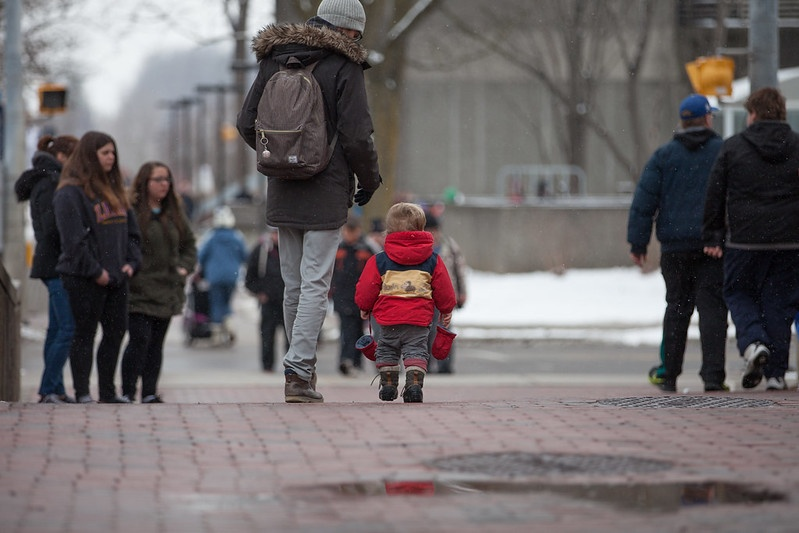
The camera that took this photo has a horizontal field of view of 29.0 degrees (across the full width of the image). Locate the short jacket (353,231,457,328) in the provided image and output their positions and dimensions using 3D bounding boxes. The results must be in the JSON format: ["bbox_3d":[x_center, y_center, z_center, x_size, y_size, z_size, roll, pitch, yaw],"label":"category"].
[{"bbox_3d":[0.036,0.104,13.394,0.908,0.799,0.477,1,2,1],"label":"short jacket"}]

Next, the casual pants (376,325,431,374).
[{"bbox_3d":[0.034,0.643,13.365,0.506,0.469,0.294,2,-3,32],"label":"casual pants"}]

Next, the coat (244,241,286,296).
[{"bbox_3d":[-1.540,0.032,17.599,0.651,0.683,0.365,3,-9,-12],"label":"coat"}]

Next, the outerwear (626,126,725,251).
[{"bbox_3d":[2.544,-0.691,14.277,1.363,1.239,0.533,-2,1,16],"label":"outerwear"}]

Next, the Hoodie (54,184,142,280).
[{"bbox_3d":[-2.630,-0.294,13.297,0.518,0.890,0.810,-8,-5,33],"label":"Hoodie"}]

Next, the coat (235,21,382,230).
[{"bbox_3d":[-0.734,-1.150,12.789,1.106,1.660,0.547,1,13,2],"label":"coat"}]

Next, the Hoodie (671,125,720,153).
[{"bbox_3d":[2.713,-1.158,14.160,0.328,0.127,0.248,0,-5,-24],"label":"Hoodie"}]

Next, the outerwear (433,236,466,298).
[{"bbox_3d":[0.580,0.010,17.541,0.246,0.603,0.472,-12,13,-36],"label":"outerwear"}]

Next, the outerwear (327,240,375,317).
[{"bbox_3d":[-0.603,0.104,17.957,0.613,0.781,0.292,7,-6,22],"label":"outerwear"}]

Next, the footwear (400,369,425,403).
[{"bbox_3d":[0.102,1.020,13.162,0.185,0.326,0.333,0,13,0],"label":"footwear"}]

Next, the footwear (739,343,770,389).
[{"bbox_3d":[3.120,0.873,13.685,0.170,0.436,0.200,6,41,7],"label":"footwear"}]

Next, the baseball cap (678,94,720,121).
[{"bbox_3d":[2.760,-1.474,14.286,0.298,0.153,0.203,-19,24,-28],"label":"baseball cap"}]

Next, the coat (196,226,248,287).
[{"bbox_3d":[-2.433,-0.109,21.012,0.956,0.906,0.515,2,4,-4],"label":"coat"}]
